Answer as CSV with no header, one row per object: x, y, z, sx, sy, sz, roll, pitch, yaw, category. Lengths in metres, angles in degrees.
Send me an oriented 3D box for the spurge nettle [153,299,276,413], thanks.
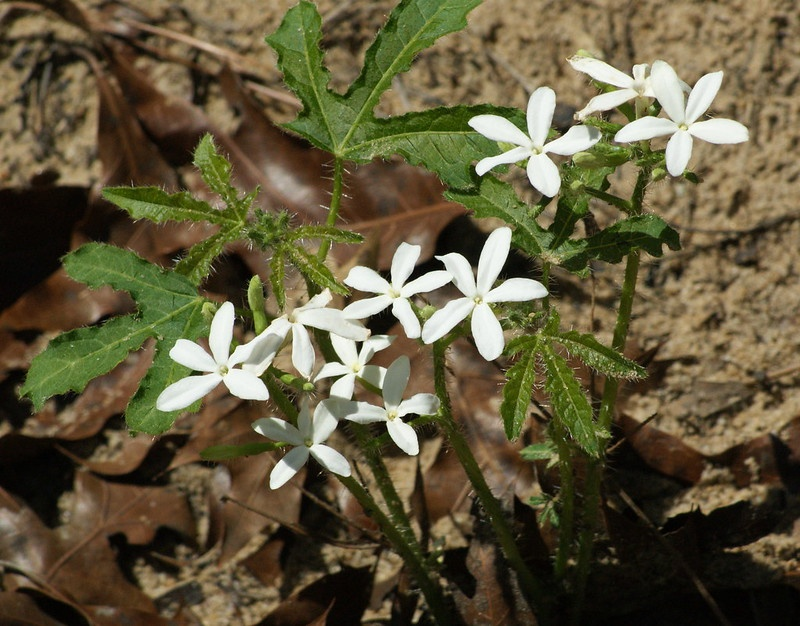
-0.786,0.261,4.191,0.476,0.176,0.553,27,33,3,spurge nettle

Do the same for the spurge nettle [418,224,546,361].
0.383,-0.095,4.257,0.571,0.591,0.290,1,3,1,spurge nettle

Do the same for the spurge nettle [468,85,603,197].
0.646,-0.781,4.340,0.537,0.570,0.193,3,-15,17,spurge nettle

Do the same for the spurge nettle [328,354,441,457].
-0.030,0.431,4.279,0.512,0.460,0.154,-4,-2,-8,spurge nettle
